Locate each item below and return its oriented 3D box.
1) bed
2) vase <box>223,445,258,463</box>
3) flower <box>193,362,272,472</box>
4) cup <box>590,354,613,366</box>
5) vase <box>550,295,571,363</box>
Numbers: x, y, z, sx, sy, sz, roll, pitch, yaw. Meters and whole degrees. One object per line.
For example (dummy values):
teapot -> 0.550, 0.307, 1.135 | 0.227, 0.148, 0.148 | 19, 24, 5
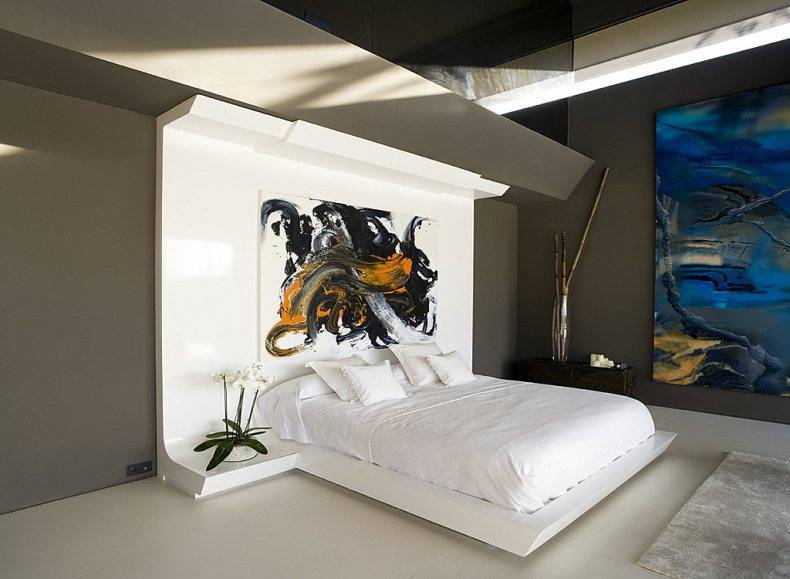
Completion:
bed -> 0.335, 1.231, 3.738 | 1.646, 0.384, 1.536 | 0, 1, 43
vase -> -1.241, 1.340, 4.064 | 0.275, 0.111, 0.116 | -6, 10, -41
flower -> -1.335, 1.033, 4.191 | 0.691, 0.713, 0.725 | -4, 9, -31
cup -> 2.605, 0.931, 6.445 | 0.168, 0.194, 0.206 | 0, 1, 0
vase -> 2.199, 0.521, 6.785 | 0.198, 0.872, 0.494 | 3, 8, 16
